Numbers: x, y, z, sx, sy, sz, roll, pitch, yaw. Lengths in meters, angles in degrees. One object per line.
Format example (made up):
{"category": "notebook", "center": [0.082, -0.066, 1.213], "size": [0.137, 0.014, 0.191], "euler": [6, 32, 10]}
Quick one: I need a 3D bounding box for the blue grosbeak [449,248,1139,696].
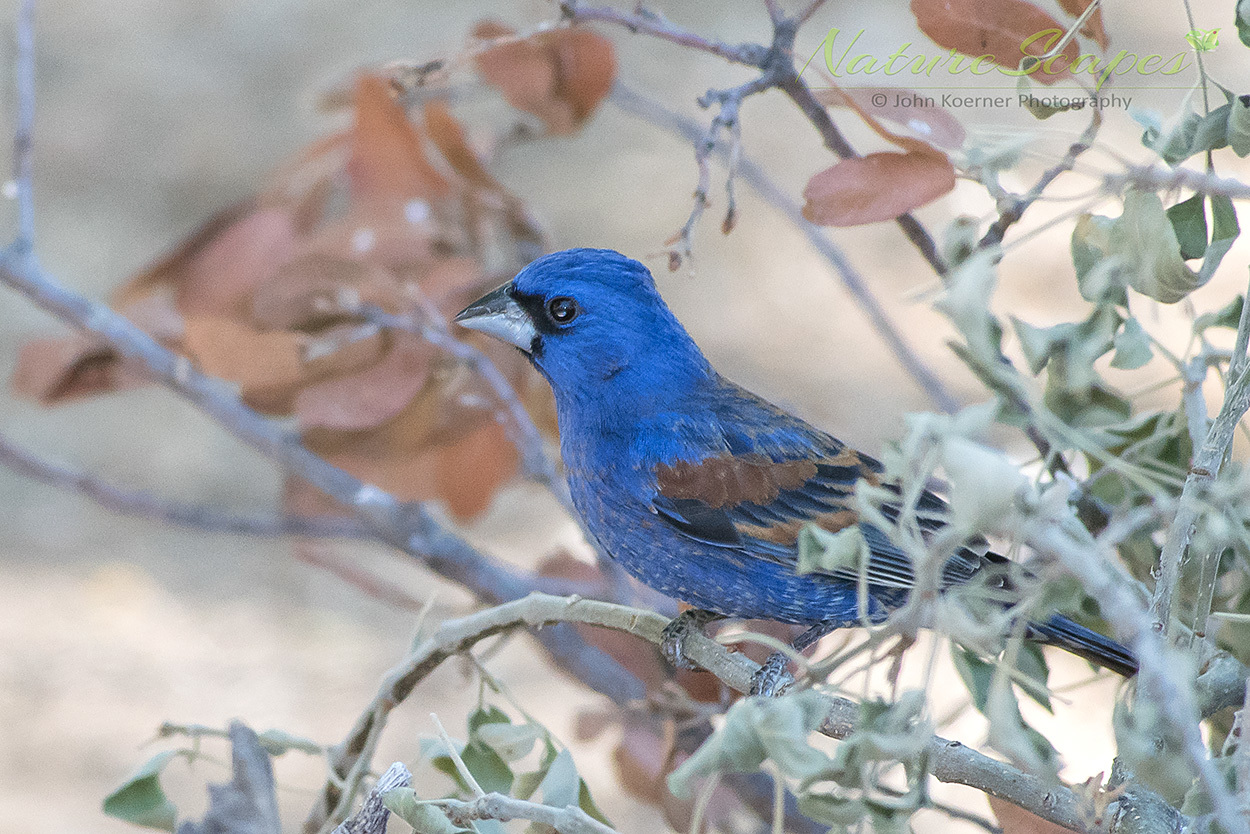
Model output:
{"category": "blue grosbeak", "center": [0.150, 0.103, 2.906], "size": [0.618, 0.975, 1.232], "euler": [-26, -33, 36]}
